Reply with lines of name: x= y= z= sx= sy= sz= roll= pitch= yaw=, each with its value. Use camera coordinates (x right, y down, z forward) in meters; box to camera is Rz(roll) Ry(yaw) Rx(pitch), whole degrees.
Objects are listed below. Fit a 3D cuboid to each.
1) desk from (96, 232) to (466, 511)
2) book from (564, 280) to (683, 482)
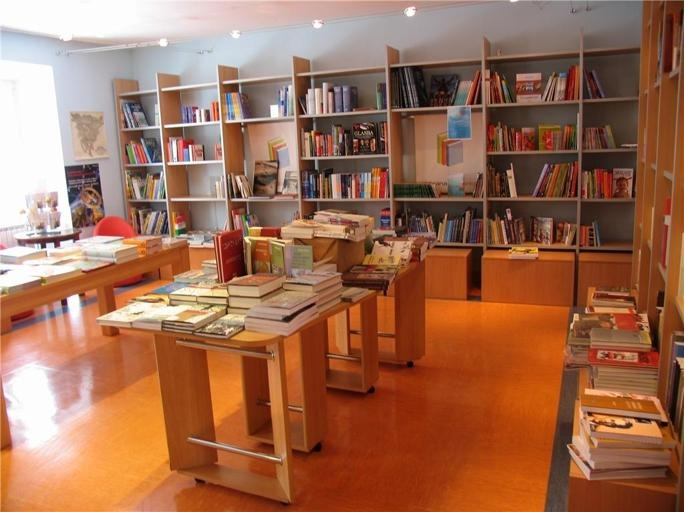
desk: x=-0.499 y=0.740 z=3.400 sx=1.067 sy=1.272 sz=1.584 roll=8 pitch=15 yaw=44
book: x=1.592 y=0.713 z=2.911 sx=0.443 sy=0.355 sz=1.262 roll=2 pitch=22 yaw=18
